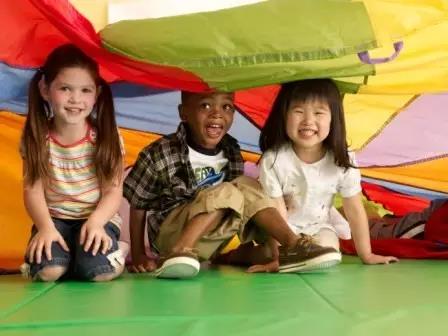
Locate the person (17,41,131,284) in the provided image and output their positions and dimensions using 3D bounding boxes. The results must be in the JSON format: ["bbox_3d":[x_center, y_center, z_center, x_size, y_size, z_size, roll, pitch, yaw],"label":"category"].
[{"bbox_3d":[-0.477,-0.035,1.177,0.344,0.731,0.285,1,-4,-12],"label":"person"}]

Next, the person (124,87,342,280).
[{"bbox_3d":[0.019,0.062,1.453,0.771,0.652,0.560,0,-3,44],"label":"person"}]

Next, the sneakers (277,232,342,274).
[{"bbox_3d":[0.252,0.261,1.139,0.080,0.104,0.219,13,-27,-34],"label":"sneakers"}]

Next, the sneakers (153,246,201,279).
[{"bbox_3d":[-0.117,0.266,1.026,0.063,0.055,0.135,6,-9,-23],"label":"sneakers"}]
